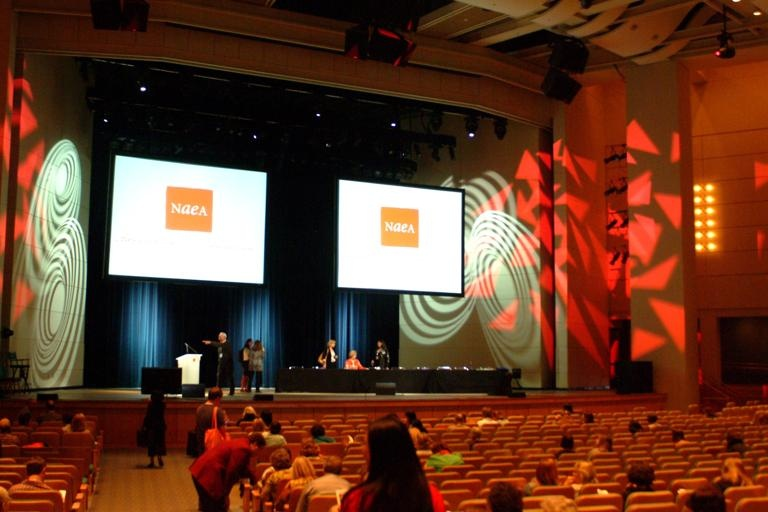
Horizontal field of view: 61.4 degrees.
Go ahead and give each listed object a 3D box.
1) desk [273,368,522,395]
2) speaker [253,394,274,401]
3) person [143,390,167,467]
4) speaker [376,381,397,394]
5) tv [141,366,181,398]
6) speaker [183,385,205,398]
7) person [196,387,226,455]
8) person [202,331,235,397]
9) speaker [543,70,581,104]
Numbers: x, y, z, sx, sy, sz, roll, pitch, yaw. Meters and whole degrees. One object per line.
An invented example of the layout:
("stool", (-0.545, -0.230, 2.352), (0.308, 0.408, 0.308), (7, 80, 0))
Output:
("desk", (0.301, 3.551, 18.509), (6.367, 0.840, 0.822), (-2, -8, 4))
("speaker", (-2.907, 3.391, 15.646), (0.461, 0.141, 0.957), (0, -9, -7))
("person", (-4.576, 3.423, 12.938), (0.394, 1.432, 0.634), (2, -8, -21))
("speaker", (0.041, 3.547, 17.444), (0.464, 0.296, 0.916), (-2, -9, 3))
("tv", (-5.374, 3.013, 15.736), (1.090, 0.656, 0.311), (-5, -8, 23))
("speaker", (-4.593, 3.230, 15.598), (0.508, 0.340, 0.291), (0, -4, 2))
("person", (-2.745, 2.547, 10.145), (0.534, 1.346, 0.557), (1, -1, -14))
("person", (-4.867, 3.171, 18.934), (1.100, 2.490, 1.308), (2, -22, -9))
("speaker", (4.763, -4.674, 17.515), (0.914, 0.820, 0.545), (3, -9, -27))
